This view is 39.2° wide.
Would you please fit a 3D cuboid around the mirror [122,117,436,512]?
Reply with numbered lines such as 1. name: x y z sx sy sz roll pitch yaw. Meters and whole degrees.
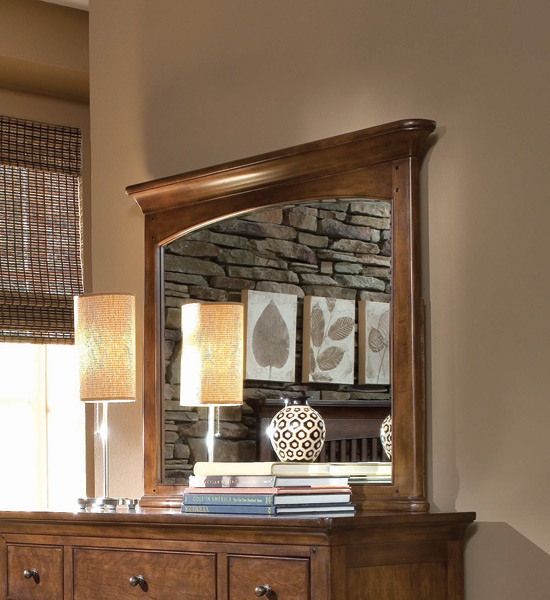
1. mirror: 0.033 0.048 1.927 1.096 0.971 0.152 -7 -12 42
